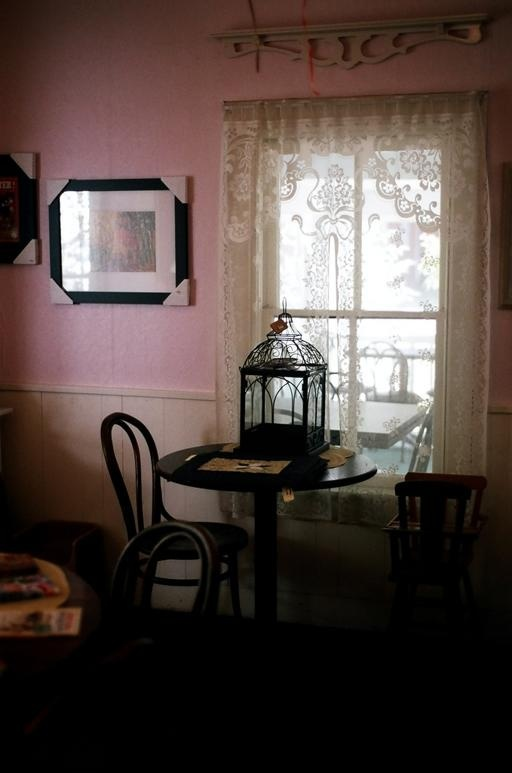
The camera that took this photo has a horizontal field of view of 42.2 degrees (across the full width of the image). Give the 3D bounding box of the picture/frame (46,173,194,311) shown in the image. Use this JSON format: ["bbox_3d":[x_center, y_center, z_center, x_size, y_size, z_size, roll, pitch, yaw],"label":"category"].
[{"bbox_3d":[-0.531,-0.608,2.711,0.499,0.480,0.047,3,9,17],"label":"picture/frame"}]
